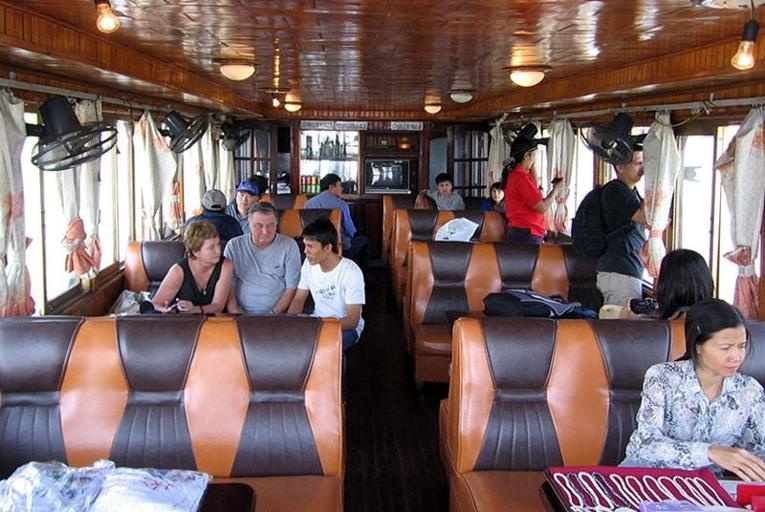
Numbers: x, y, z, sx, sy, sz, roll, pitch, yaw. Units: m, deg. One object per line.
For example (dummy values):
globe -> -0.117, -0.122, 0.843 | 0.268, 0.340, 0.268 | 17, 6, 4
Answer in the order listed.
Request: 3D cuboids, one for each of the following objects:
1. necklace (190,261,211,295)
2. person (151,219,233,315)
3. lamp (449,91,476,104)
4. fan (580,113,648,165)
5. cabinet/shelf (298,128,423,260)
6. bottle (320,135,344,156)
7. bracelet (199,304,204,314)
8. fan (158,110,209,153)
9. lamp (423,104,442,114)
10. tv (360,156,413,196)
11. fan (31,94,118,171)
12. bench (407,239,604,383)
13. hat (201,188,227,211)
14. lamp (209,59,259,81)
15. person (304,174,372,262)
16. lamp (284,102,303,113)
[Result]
necklace -> -1.288, 0.164, 4.293 | 0.167, 0.221, 0.060 | 3, 0, -8
person -> -1.292, 0.140, 4.226 | 0.564, 0.713, 0.506 | -6, 23, -30
lamp -> 0.968, -1.918, 7.347 | 0.264, 0.090, 0.257 | 0, 13, 3
fan -> 1.889, -1.012, 4.937 | 0.618, 0.305, 0.493 | 6, 25, 19
cabinet/shelf -> -0.334, -1.078, 10.961 | 1.767, 1.908, 0.659 | 1, -1, 9
bottle -> -0.903, -1.912, 10.653 | 0.397, 0.438, 0.335 | 2, 6, 13
bracelet -> -1.254, 0.380, 4.214 | 0.016, 0.045, 0.033 | -9, 40, -2
fan -> -2.148, -1.319, 6.534 | 0.297, 0.435, 0.599 | 2, 12, 8
lamp -> 0.734, -2.189, 9.049 | 0.223, 0.084, 0.226 | -1, 1, 38
tv -> -0.007, -1.429, 10.946 | 0.998, 0.664, 0.513 | -3, 10, -22
fan -> -2.082, -0.825, 4.070 | 0.506, 0.476, 0.481 | -6, 14, -28
bench -> 1.096, 0.507, 4.982 | 1.704, 1.031, 0.898 | 1, 17, -3
hat -> -1.613, -0.538, 5.819 | 0.173, 0.136, 0.251 | -3, 24, -15
lamp -> -1.298, -1.629, 5.318 | 0.278, 0.098, 0.274 | 2, 12, 11
person -> -0.620, -0.407, 8.159 | 0.922, 1.314, 0.830 | 1, 10, 0
lamp -> -1.359, -2.261, 9.241 | 0.256, 0.142, 0.249 | -9, 15, -32
